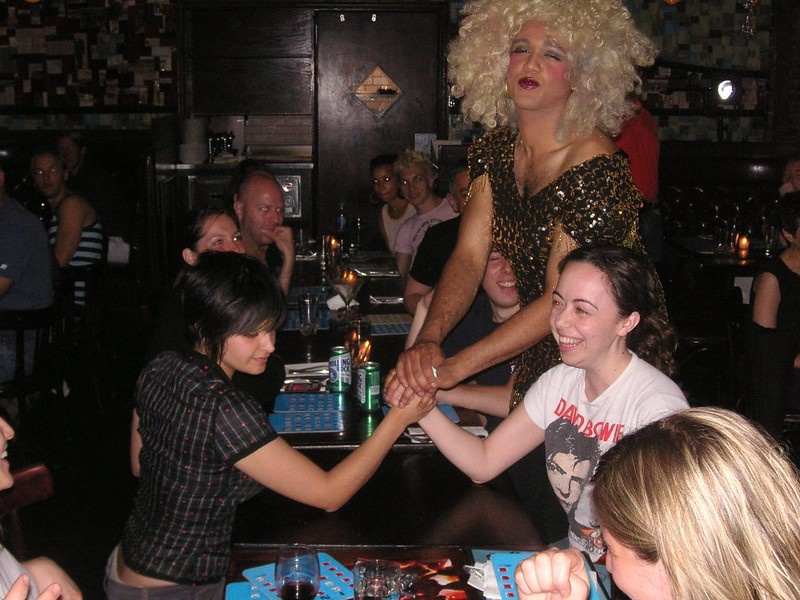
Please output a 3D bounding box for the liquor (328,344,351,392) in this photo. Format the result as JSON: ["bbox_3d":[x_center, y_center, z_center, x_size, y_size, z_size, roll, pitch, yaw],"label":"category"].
[{"bbox_3d":[-0.227,0.267,2.747,0.088,0.152,0.090,-3,3,-5],"label":"liquor"}]

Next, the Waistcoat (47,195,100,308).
[{"bbox_3d":[-2.307,-0.386,5.113,0.389,0.702,0.529,5,9,-13],"label":"Waistcoat"}]

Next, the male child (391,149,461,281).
[{"bbox_3d":[0.126,-0.639,4.998,0.410,0.930,0.391,-2,19,-16],"label":"male child"}]

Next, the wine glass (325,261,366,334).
[{"bbox_3d":[-0.274,-0.017,3.657,0.182,0.333,0.215,-1,15,-7],"label":"wine glass"}]

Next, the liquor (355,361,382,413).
[{"bbox_3d":[-0.105,0.304,2.571,0.090,0.154,0.090,1,6,5],"label":"liquor"}]

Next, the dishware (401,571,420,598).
[{"bbox_3d":[0.019,0.636,1.621,0.037,0.024,0.072,3,6,2],"label":"dishware"}]

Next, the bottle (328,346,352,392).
[{"bbox_3d":[-0.227,0.265,2.748,0.121,0.151,0.124,2,4,20],"label":"bottle"}]
